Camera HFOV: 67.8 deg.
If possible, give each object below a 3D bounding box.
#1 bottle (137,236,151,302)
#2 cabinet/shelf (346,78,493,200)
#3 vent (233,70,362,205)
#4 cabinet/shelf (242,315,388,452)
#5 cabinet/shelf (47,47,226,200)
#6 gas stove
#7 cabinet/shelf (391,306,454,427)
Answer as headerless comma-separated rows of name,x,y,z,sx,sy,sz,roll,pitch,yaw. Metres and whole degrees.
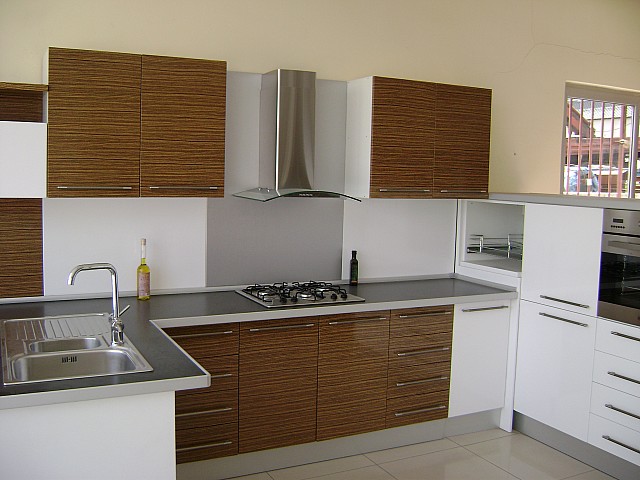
bottle,-1.193,0.186,3.211,0.076,0.400,0.183,-1,14,-20
cabinet/shelf,0.792,-0.814,3.795,1.110,0.790,0.397,-4,11,-25
vent,-0.196,-0.742,3.310,0.988,0.815,0.922,7,16,20
cabinet/shelf,-0.173,0.984,3.404,1.194,0.877,0.658,4,-5,-36
cabinet/shelf,-1.095,-0.706,3.070,1.124,0.854,0.367,3,6,3
gas stove,-0.143,0.378,3.372,0.782,0.066,0.586,-2,13,-24
cabinet/shelf,0.922,0.977,3.686,0.544,0.839,0.616,-11,-36,31
